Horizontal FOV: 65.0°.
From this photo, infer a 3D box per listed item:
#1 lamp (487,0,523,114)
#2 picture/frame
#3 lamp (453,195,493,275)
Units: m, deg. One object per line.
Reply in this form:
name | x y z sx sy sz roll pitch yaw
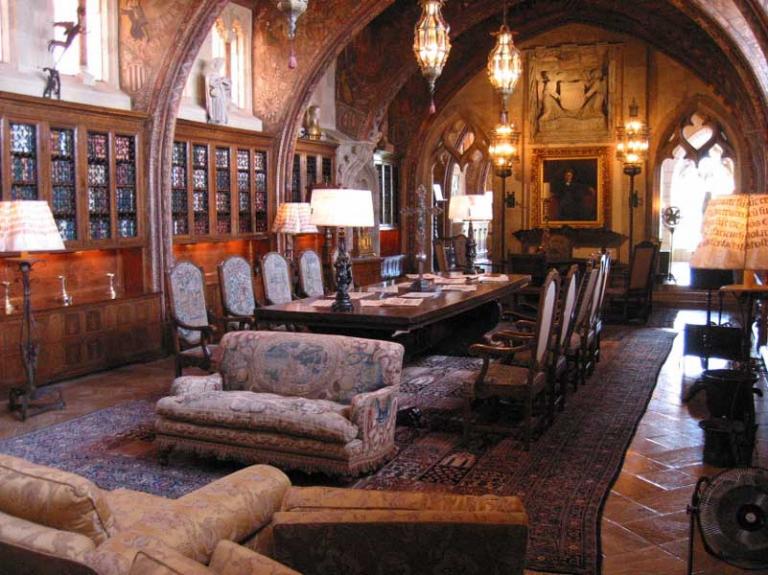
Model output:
lamp | 1.441 -2.742 7.179 0.377 1.085 1.131 -1 6 12
picture/frame | 4.286 -2.285 13.839 1.717 1.843 0.180 -1 6 19
lamp | 1.062 -0.655 7.394 0.583 0.919 0.579 0 2 28
